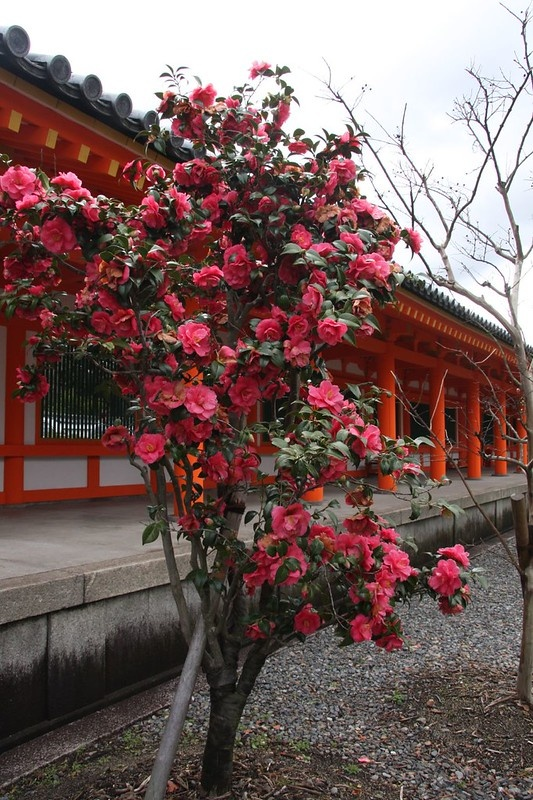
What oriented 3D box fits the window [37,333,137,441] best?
[{"bbox_3d":[-2.027,-0.008,7.003,1.650,1.108,0.032,0,-19,32],"label":"window"}]
